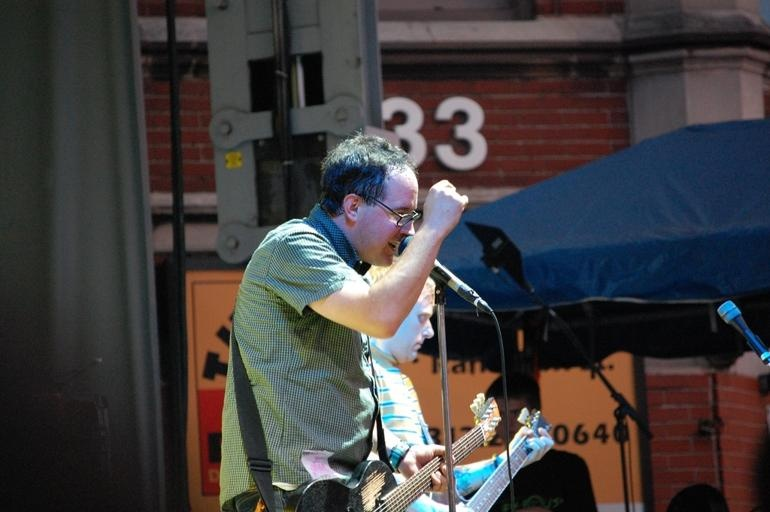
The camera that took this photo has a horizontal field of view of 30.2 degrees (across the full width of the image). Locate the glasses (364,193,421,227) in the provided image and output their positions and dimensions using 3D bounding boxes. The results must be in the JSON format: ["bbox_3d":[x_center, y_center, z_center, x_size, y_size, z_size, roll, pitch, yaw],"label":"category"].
[{"bbox_3d":[0.059,-0.277,9.096,0.232,0.074,0.232,35,10,23],"label":"glasses"}]

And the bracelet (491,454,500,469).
[{"bbox_3d":[0.793,1.464,10.214,0.024,0.108,0.105,13,18,30],"label":"bracelet"}]

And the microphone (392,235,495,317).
[{"bbox_3d":[0.372,0.110,9.213,0.819,0.222,0.211,38,-25,32],"label":"microphone"}]
